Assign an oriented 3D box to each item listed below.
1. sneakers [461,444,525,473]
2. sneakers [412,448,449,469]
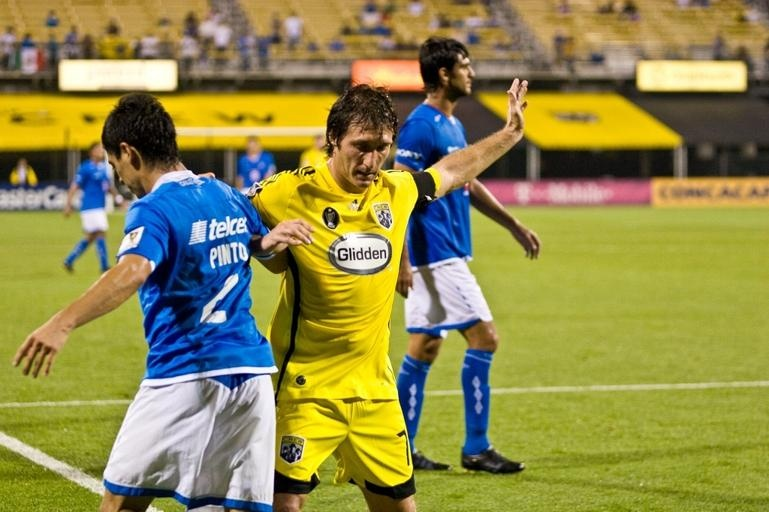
[{"bbox_3d":[0.931,1.747,10.940,0.517,0.189,0.198,-1,-4,14],"label":"sneakers"},{"bbox_3d":[0.367,1.759,10.993,0.407,0.155,0.128,-1,0,2],"label":"sneakers"}]
